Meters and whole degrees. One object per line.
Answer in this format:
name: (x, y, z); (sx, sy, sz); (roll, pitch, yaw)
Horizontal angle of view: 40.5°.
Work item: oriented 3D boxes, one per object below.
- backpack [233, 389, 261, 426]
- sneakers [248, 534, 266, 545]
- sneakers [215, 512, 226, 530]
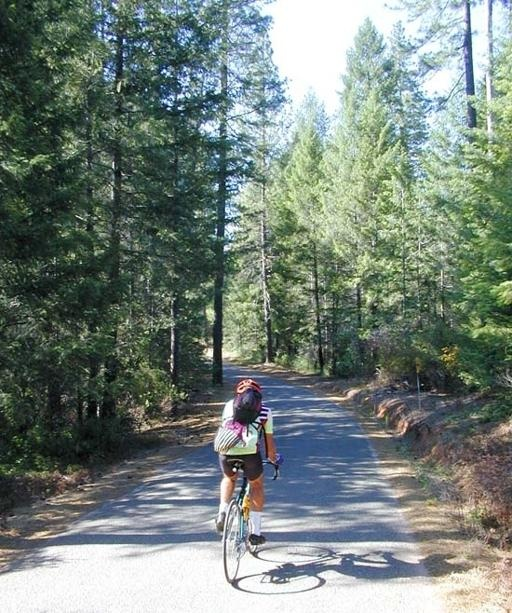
backpack: (-0.097, 1.166, 7.970); (0.327, 0.344, 0.428); (5, 0, 0)
sneakers: (0.010, 2.658, 7.925); (0.240, 0.074, 0.089); (-2, -7, 6)
sneakers: (-0.398, 2.355, 7.600); (0.080, 0.205, 0.106); (4, 4, 15)
